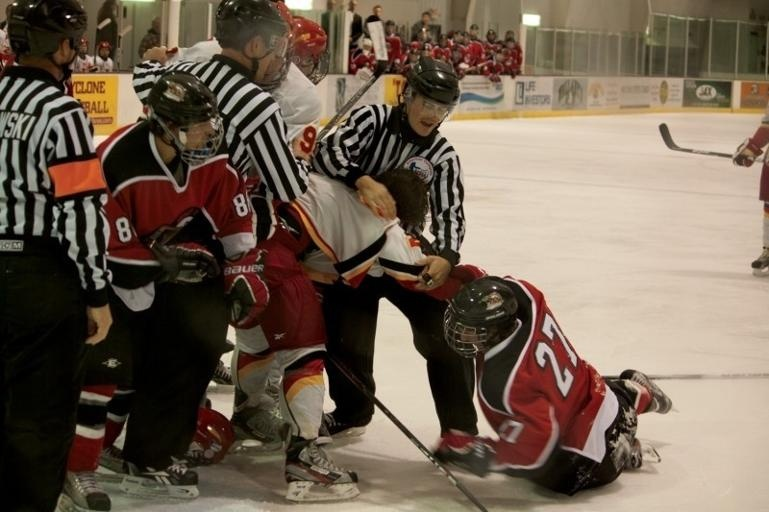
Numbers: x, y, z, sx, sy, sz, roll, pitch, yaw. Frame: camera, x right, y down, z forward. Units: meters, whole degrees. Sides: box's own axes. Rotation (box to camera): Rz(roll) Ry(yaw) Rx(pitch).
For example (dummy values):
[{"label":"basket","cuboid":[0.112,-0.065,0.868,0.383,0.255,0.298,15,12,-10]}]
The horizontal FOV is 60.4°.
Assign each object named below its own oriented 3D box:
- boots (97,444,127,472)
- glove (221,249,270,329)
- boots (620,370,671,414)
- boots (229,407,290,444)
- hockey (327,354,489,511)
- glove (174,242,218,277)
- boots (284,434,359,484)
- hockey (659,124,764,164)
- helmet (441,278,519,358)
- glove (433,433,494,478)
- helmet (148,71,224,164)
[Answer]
[{"label":"boots","cuboid":[-0.951,0.725,2.348,0.067,0.079,0.134,-3,10,-41]},{"label":"glove","cuboid":[-0.471,0.109,2.261,0.098,0.241,0.172,-6,21,-26]},{"label":"boots","cuboid":[1.096,0.574,2.784,0.260,0.086,0.107,26,7,-6]},{"label":"boots","cuboid":[-0.505,0.683,2.707,0.232,0.138,0.106,2,8,-9]},{"label":"hockey","cuboid":[0.094,0.701,2.591,0.040,0.050,0.792,-28,58,-28]},{"label":"glove","cuboid":[-0.598,0.020,2.146,0.125,0.052,0.091,17,41,-32]},{"label":"boots","cuboid":[-0.207,0.718,2.313,0.308,0.186,0.101,12,-18,-29]},{"label":"hockey","cuboid":[4.341,-1.595,8.868,0.352,0.419,1.196,-11,12,-38]},{"label":"helmet","cuboid":[0.347,0.195,2.327,0.229,0.235,0.265,9,28,33]},{"label":"glove","cuboid":[0.308,0.690,2.453,0.214,0.145,0.073,-1,-8,19]},{"label":"helmet","cuboid":[-0.626,-0.440,2.073,0.266,0.251,0.199,16,31,-3]}]
